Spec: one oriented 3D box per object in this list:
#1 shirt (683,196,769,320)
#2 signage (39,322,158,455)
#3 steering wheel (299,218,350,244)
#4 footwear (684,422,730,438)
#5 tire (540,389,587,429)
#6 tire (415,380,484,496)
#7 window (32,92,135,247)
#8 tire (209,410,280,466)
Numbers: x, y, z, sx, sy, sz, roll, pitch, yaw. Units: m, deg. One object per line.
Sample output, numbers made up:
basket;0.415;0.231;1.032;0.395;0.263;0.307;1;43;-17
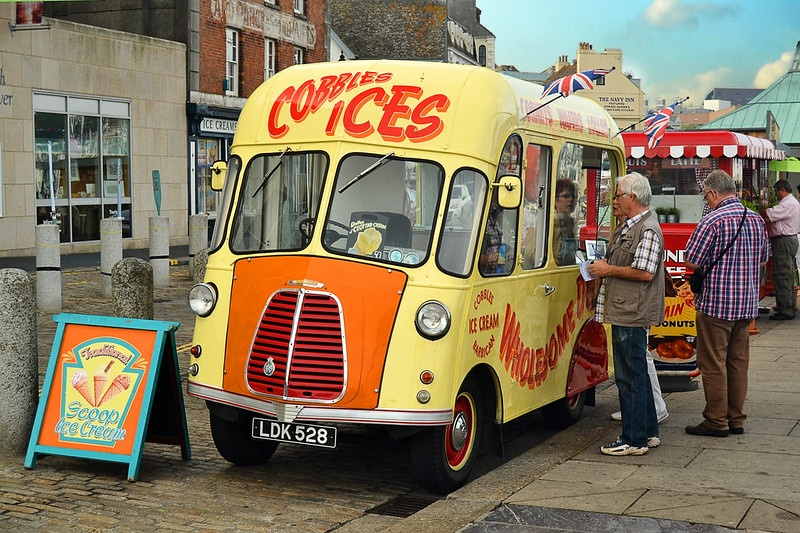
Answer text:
shirt;3.521;-0.086;8.310;0.849;1.298;0.444;1;8;11
signage;-2.825;1.146;7.225;1.224;1.231;0.082;4;-17;13
steering wheel;-0.766;-0.329;7.012;0.296;0.284;0.108;10;31;21
footwear;3.335;1.793;8.418;0.454;0.190;0.164;5;7;32
tire;1.854;1.629;8.868;0.214;0.607;0.616;2;2;33
tire;0.404;1.515;6.862;0.379;1.183;1.058;2;4;32
window;-9.332;-2.895;22.336;0.202;5.077;4.965;1;3;29
tire;-1.472;1.590;7.230;0.253;0.722;0.666;-3;4;34
